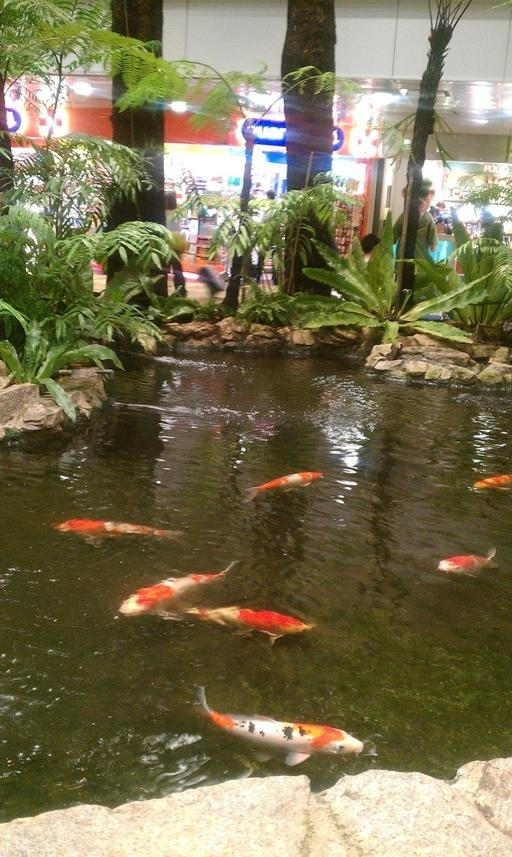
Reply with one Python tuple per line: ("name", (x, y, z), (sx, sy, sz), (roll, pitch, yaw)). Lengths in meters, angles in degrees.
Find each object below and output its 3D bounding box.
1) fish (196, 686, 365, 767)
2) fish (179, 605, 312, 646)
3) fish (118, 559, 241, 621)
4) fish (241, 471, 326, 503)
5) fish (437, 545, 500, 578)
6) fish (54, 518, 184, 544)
("fish", (0.046, 0.641, 1.438), (0.313, 0.073, 0.112), (7, 33, 21))
("fish", (-0.021, 0.544, 1.998), (0.365, 0.055, 0.163), (8, 13, 27))
("fish", (-0.213, 0.505, 2.140), (0.425, 0.088, 0.150), (-13, 47, -38))
("fish", (0.136, 0.250, 3.187), (0.521, 0.091, 0.122), (-6, 14, -36))
("fish", (0.798, 0.487, 2.494), (0.349, 0.065, 0.103), (-4, 13, -29))
("fish", (-0.526, 0.384, 2.567), (0.472, 0.045, 0.163), (1, 11, -6))
